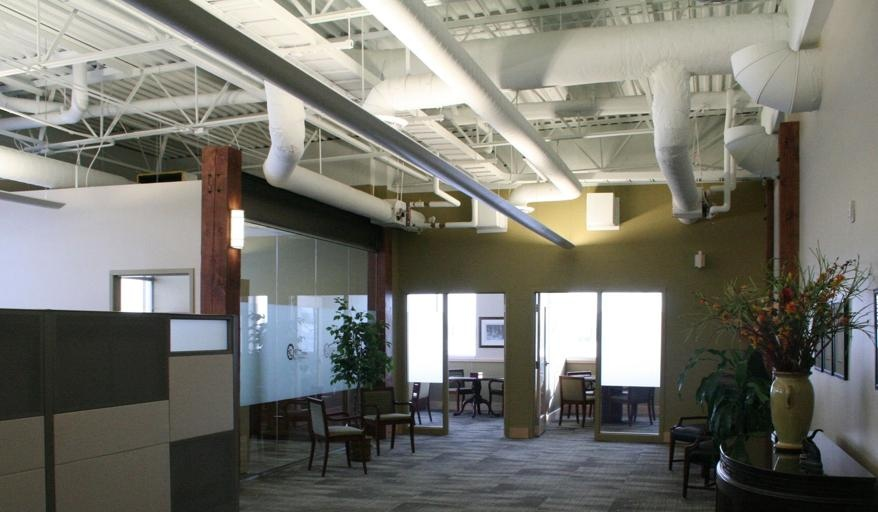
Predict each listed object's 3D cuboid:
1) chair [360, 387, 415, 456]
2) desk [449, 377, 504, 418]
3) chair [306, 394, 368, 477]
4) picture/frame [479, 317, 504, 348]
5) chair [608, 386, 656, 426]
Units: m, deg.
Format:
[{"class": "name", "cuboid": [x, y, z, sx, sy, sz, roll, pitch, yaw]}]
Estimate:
[{"class": "chair", "cuboid": [-1.060, 3.251, 12.962, 0.974, 1.163, 1.039, -7, -12, 35]}, {"class": "desk", "cuboid": [0.999, 3.671, 17.151, 1.789, 1.007, 1.739, 3, -9, -1]}, {"class": "chair", "cuboid": [-1.840, 3.185, 11.670, 1.119, 1.188, 1.074, 0, -10, -1]}, {"class": "picture/frame", "cuboid": [1.470, 2.138, 18.148, 1.005, 1.001, 0.084, 0, -7, 9]}, {"class": "chair", "cuboid": [4.070, 3.215, 13.956, 1.026, 0.686, 0.357, 0, 0, 13]}]
